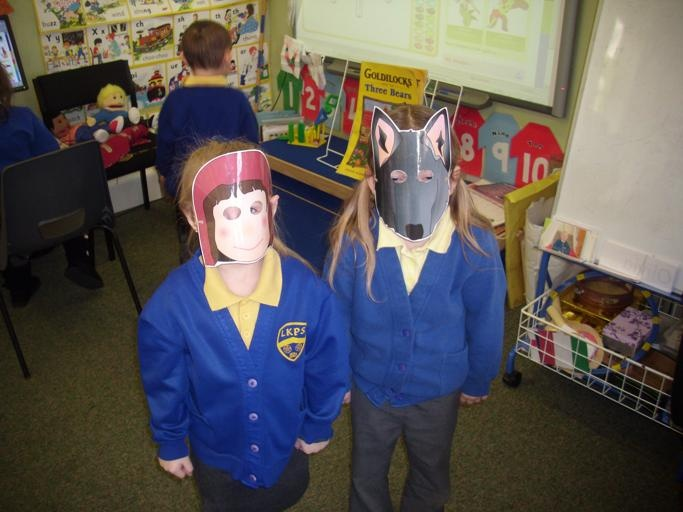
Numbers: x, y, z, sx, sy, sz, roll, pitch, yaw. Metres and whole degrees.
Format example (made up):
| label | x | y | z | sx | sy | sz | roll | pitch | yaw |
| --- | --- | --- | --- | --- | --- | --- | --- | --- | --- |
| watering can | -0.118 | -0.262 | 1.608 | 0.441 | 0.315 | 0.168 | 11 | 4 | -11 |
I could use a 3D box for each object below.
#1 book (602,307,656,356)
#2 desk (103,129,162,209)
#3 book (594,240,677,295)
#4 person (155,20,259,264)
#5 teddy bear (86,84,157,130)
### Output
| label | x | y | z | sx | sy | sz | roll | pitch | yaw |
| --- | --- | --- | --- | --- | --- | --- | --- | --- | --- |
| book | 1.283 | 0.325 | 2.419 | 0.221 | 0.071 | 0.153 | -36 | 41 | -26 |
| desk | -1.373 | -0.579 | 3.846 | 0.514 | 0.368 | 0.360 | 4 | 10 | 34 |
| book | 1.182 | 0.033 | 2.190 | 0.320 | 0.134 | 0.040 | 20 | 32 | 35 |
| person | -0.786 | -0.462 | 3.148 | 0.512 | 1.778 | 0.533 | -1 | 36 | -18 |
| teddy bear | -1.506 | -0.999 | 3.663 | 0.422 | 0.300 | 0.260 | -18 | 30 | -36 |
